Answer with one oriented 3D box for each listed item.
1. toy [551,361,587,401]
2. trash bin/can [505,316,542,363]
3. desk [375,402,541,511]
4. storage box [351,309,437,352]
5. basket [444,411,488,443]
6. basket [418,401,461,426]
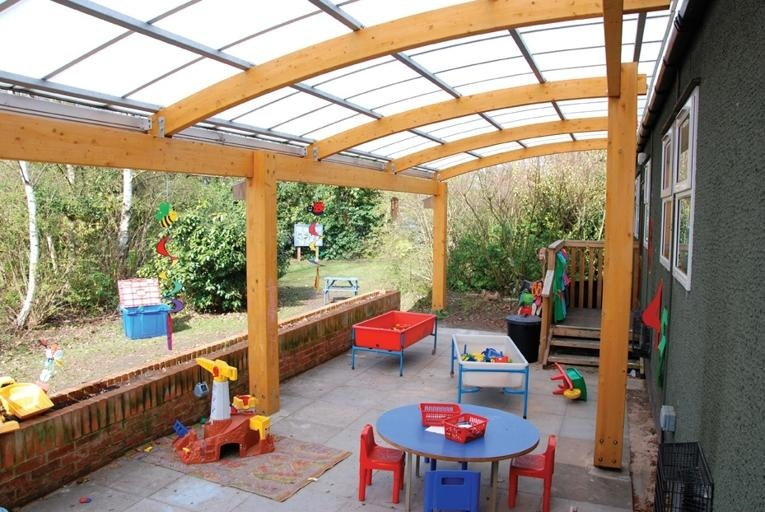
[{"bbox_3d":[3.366,2.259,9.132,0.600,0.545,0.816,-1,2,1],"label":"toy"},{"bbox_3d":[3.013,1.764,11.175,0.980,0.931,0.963,2,7,32],"label":"trash bin/can"},{"bbox_3d":[0.894,2.131,5.811,1.499,0.664,1.425,1,5,10],"label":"desk"},{"bbox_3d":[0.282,1.571,10.577,1.254,0.578,1.716,0,2,22],"label":"storage box"},{"bbox_3d":[0.953,2.022,5.919,0.420,0.198,0.579,1,3,41],"label":"basket"},{"bbox_3d":[0.692,1.932,6.139,0.383,0.142,0.263,0,-4,5],"label":"basket"}]
